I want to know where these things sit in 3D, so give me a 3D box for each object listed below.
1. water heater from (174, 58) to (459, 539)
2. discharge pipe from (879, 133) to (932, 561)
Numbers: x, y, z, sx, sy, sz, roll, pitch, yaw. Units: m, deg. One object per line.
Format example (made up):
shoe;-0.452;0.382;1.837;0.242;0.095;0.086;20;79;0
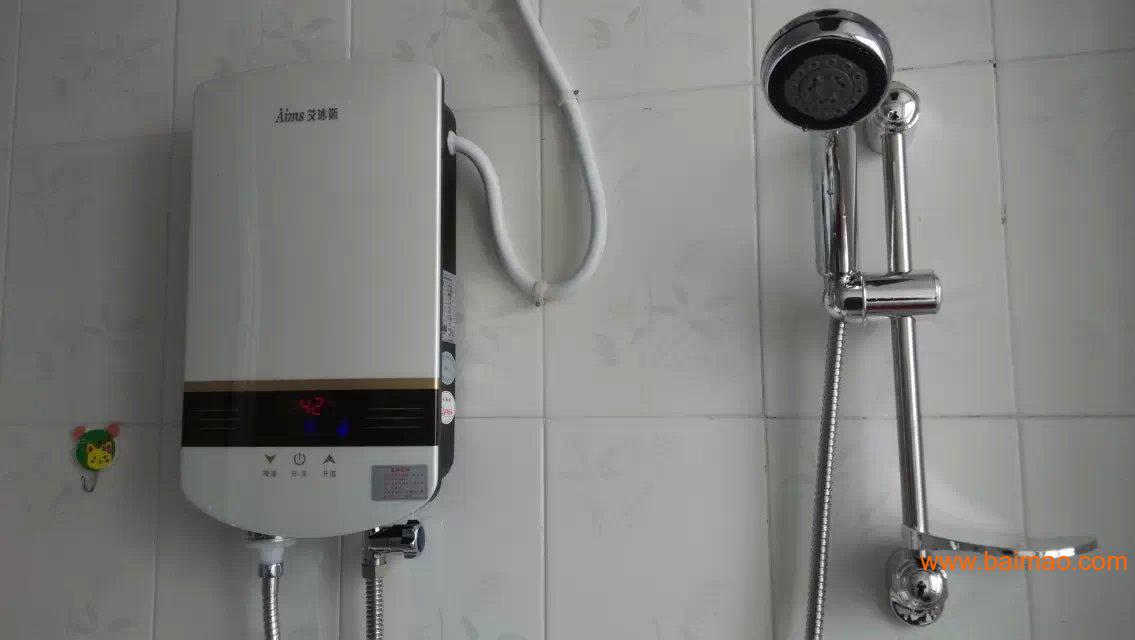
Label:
water heater;-0.482;-0.046;2.630;0.549;0.296;0.910;-2;-96;12
discharge pipe;0.647;0.019;2.435;0.078;0.075;0.707;2;-86;25
